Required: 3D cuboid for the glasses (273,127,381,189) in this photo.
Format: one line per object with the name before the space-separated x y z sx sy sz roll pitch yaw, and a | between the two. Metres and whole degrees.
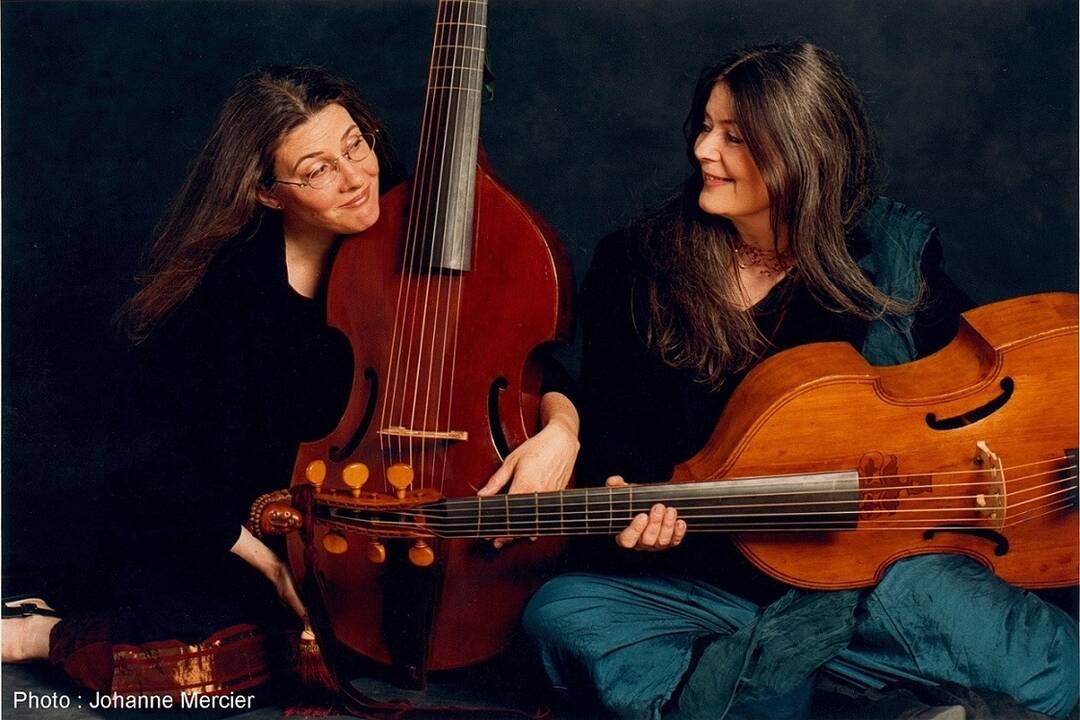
glasses | -0.618 -0.612 3.724 0.335 0.163 0.228 -16 25 -41
